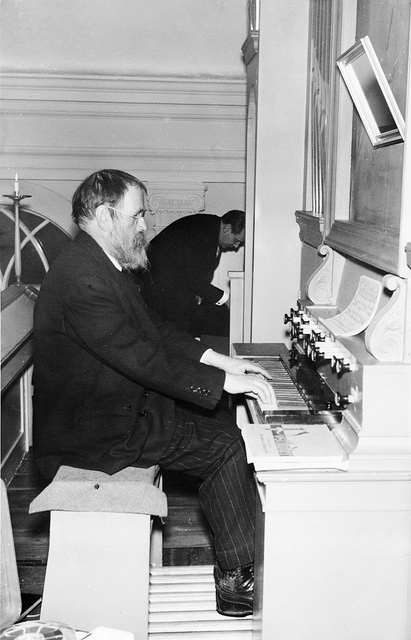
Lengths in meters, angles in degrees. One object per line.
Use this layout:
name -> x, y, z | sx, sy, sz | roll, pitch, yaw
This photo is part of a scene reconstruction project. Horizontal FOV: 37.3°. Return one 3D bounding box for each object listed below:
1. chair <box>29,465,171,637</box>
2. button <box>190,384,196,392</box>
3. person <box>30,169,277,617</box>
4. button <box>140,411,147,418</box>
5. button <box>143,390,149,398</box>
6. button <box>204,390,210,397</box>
chair -> -0.324, 0.718, 2.104 | 0.443, 0.487, 0.479 | 3, -3, -2
button -> -0.042, 0.228, 2.046 | 0.022, 0.024, 0.006 | 0, -2, -3
person -> -0.366, 0.189, 3.211 | 1.333, 2.701, 1.064 | -1, 1, -9
button -> -0.230, 0.352, 2.244 | 0.013, 0.018, 0.005 | -4, -21, -14
button -> -0.221, 0.280, 2.270 | 0.019, 0.037, 0.019 | 11, 3, -25
button -> 0.007, 0.248, 2.044 | 0.017, 0.020, 0.005 | 1, -3, 13
